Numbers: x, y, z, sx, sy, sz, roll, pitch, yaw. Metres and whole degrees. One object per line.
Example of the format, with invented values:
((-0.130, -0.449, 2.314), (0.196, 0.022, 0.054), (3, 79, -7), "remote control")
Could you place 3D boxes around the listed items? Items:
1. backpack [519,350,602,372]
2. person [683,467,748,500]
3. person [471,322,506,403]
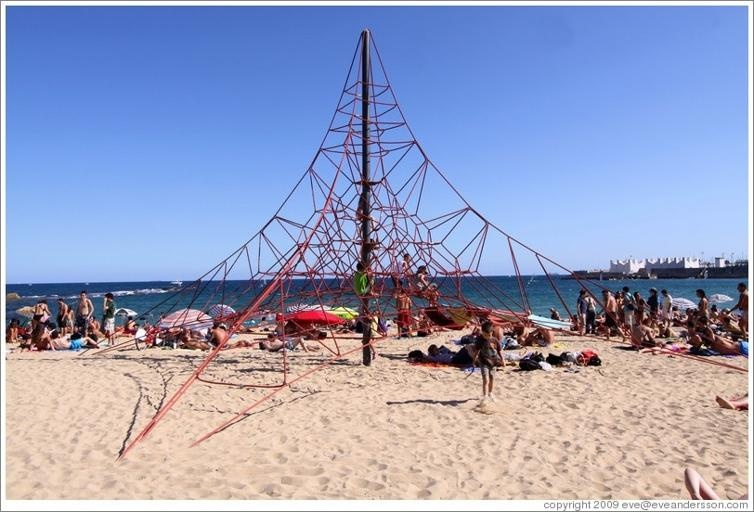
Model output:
((4.477, 2.573, 13.678), (1.272, 0.340, 0.759), (2, -7, -10), "backpack")
((5.022, 3.328, 8.363), (0.752, 0.247, 0.736), (31, -9, -22), "person")
((2.201, 2.165, 11.270), (0.715, 1.611, 0.908), (0, -2, 24), "person")
